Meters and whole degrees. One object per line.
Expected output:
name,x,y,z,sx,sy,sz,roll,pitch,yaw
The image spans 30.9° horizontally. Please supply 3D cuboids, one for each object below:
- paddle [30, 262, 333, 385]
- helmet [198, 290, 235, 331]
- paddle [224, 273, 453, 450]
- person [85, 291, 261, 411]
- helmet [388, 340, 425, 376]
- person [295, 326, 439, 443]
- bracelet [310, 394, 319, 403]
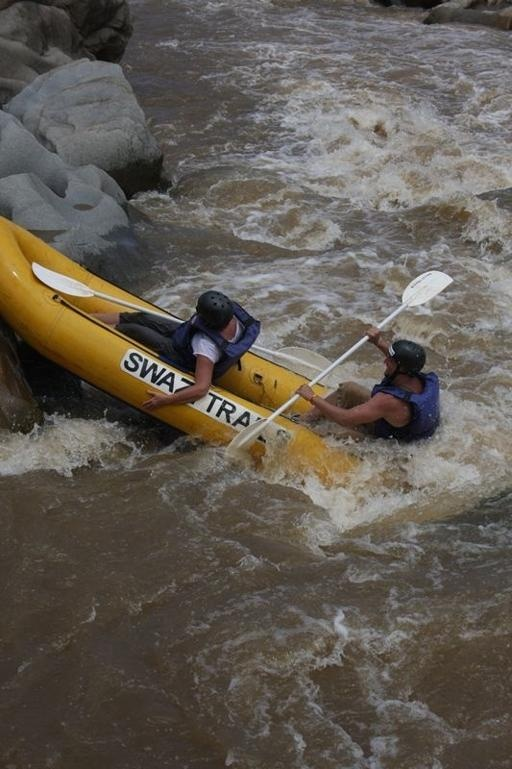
paddle,-0.628,-0.455,7.344,3.060,0.217,0.482,17,19,-23
helmet,-0.276,-0.497,6.484,0.283,0.306,0.217,-3,20,-19
paddle,0.673,-0.145,7.436,2.839,0.343,0.093,-29,57,-2
person,-0.485,-0.284,6.665,1.219,0.519,0.839,22,41,8
helmet,1.014,-0.172,6.341,0.198,0.244,0.210,-22,32,-36
person,0.879,0.024,6.672,0.744,0.805,0.800,-13,25,-42
bracelet,0.414,0.107,6.662,0.060,0.047,0.016,-7,-27,27
